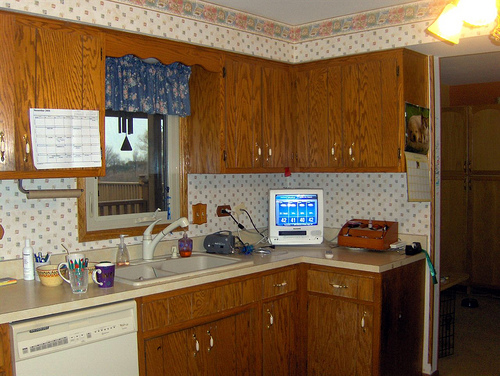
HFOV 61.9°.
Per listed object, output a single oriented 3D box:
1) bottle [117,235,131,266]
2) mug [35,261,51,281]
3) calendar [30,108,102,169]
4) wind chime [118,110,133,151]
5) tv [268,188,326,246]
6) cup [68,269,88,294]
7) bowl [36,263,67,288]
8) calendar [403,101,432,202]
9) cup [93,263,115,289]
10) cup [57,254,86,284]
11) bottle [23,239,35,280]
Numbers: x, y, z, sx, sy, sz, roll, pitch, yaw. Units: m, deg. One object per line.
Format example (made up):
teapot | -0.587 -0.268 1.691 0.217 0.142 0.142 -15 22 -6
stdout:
bottle | -0.953 0.472 3.136 0.096 0.213 0.122 -3 3 -18
mug | -1.406 0.552 2.829 0.097 0.125 0.143 -3 4 -26
calendar | -1.181 -0.316 2.686 0.408 0.373 0.045 -4 4 -34
wind chime | -1.006 -0.455 3.372 0.038 0.315 0.134 1 4 41
tv | 0.465 0.372 4.073 0.549 0.629 0.358 -3 -36 9
cup | -1.046 0.559 2.559 0.126 0.159 0.128 -4 -7 0
bowl | -1.287 0.563 2.659 0.152 0.104 0.159 8 -3 0
calendar | 1.480 -0.326 3.673 0.461 0.906 0.022 -2 2 -45
cup | -0.922 0.557 2.606 0.099 0.156 0.160 3 5 27
cup | -1.085 0.504 2.568 0.184 0.213 0.122 -1 8 -14
bottle | -1.478 0.481 2.771 0.075 0.271 0.059 -2 3 -13
